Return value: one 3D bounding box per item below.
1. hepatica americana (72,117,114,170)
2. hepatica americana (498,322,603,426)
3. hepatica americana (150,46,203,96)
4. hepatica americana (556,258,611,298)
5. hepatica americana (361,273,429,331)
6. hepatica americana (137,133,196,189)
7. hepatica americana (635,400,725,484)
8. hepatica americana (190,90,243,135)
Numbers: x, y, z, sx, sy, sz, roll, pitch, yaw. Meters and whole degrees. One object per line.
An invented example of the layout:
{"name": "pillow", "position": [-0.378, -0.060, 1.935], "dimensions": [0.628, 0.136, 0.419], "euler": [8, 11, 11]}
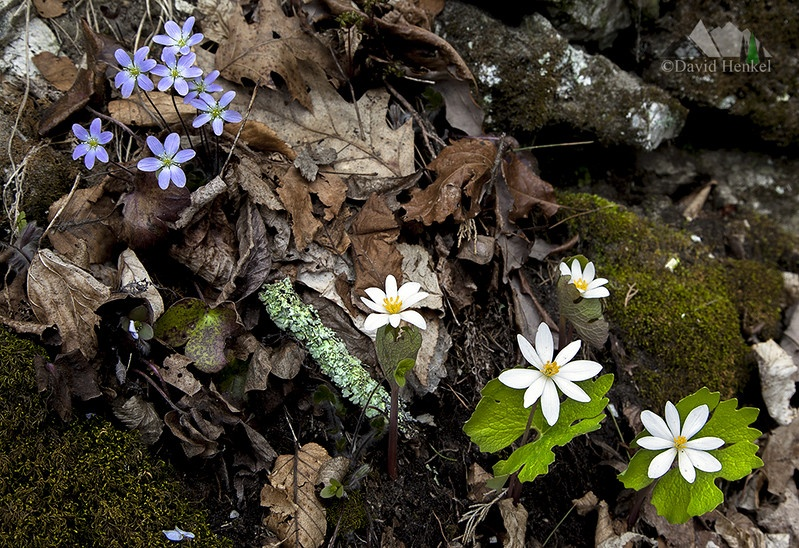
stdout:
{"name": "hepatica americana", "position": [-1.662, -0.703, 4.108], "dimensions": [0.239, 0.316, 0.077], "euler": [-6, 7, 6]}
{"name": "hepatica americana", "position": [0.772, 0.523, 3.910], "dimensions": [0.473, 0.352, 0.365], "euler": [-7, 42, -22]}
{"name": "hepatica americana", "position": [-1.224, -1.122, 4.164], "dimensions": [0.252, 0.201, 0.258], "euler": [8, 40, -6]}
{"name": "hepatica americana", "position": [1.036, 0.039, 4.324], "dimensions": [0.280, 0.142, 0.262], "euler": [-1, 38, -36]}
{"name": "hepatica americana", "position": [-0.028, 0.175, 4.013], "dimensions": [0.281, 0.108, 0.339], "euler": [19, 65, 14]}
{"name": "hepatica americana", "position": [-1.247, -0.598, 4.010], "dimensions": [0.280, 0.320, 0.068], "euler": [7, 3, -3]}
{"name": "hepatica americana", "position": [1.494, 0.948, 4.024], "dimensions": [0.491, 0.446, 0.295], "euler": [6, 38, -7]}
{"name": "hepatica americana", "position": [-1.038, -0.900, 4.268], "dimensions": [0.267, 0.298, 0.357], "euler": [-2, 41, -16]}
